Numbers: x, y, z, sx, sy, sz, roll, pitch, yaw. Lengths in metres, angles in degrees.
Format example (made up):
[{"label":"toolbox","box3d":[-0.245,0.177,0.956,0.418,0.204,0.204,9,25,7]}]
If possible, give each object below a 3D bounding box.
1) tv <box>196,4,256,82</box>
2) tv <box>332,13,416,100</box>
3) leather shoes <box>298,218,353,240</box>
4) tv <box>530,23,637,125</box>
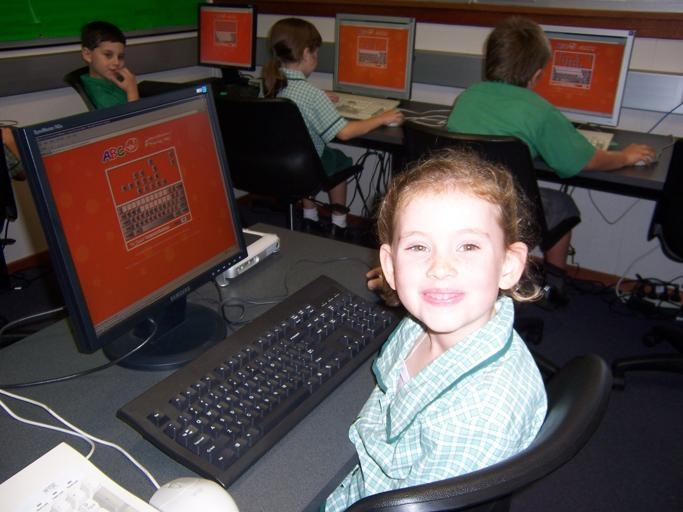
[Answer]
[{"label":"tv","box3d":[-0.731,-1.377,3.362,0.507,0.503,0.168,20,36,21]},{"label":"tv","box3d":[0.209,-1.189,3.115,0.534,0.442,0.055,15,33,24]},{"label":"leather shoes","box3d":[-0.097,-0.167,3.239,0.315,0.132,0.106,15,39,19]},{"label":"tv","box3d":[1.171,-0.883,2.513,0.577,0.401,0.091,28,45,33]}]
